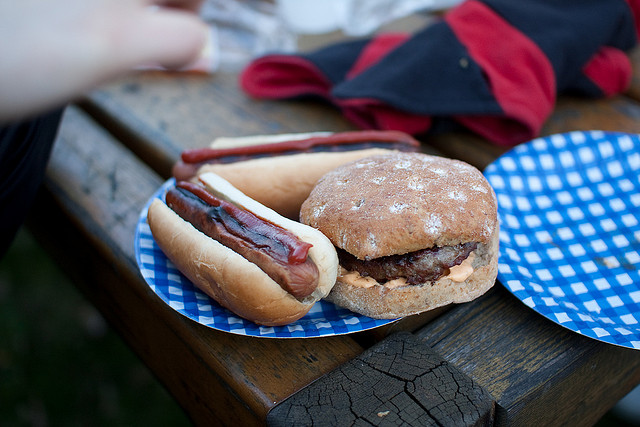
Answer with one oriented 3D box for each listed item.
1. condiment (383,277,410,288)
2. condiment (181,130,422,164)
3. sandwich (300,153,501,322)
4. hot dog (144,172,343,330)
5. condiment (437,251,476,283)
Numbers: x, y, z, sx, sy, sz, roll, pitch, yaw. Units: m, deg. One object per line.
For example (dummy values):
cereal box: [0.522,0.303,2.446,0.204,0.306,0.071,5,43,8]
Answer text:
condiment: [0.231,0.208,1.581,0.058,0.029,0.020,-15,99,-14]
condiment: [-0.093,-0.262,2.078,0.993,0.181,0.139,2,98,11]
sandwich: [0.250,0.047,1.614,0.491,0.297,0.501,-20,37,-19]
hot dog: [-0.233,0.062,1.748,0.651,0.416,0.638,-4,26,-18]
condiment: [0.429,0.151,1.591,0.062,0.024,0.100,3,32,45]
